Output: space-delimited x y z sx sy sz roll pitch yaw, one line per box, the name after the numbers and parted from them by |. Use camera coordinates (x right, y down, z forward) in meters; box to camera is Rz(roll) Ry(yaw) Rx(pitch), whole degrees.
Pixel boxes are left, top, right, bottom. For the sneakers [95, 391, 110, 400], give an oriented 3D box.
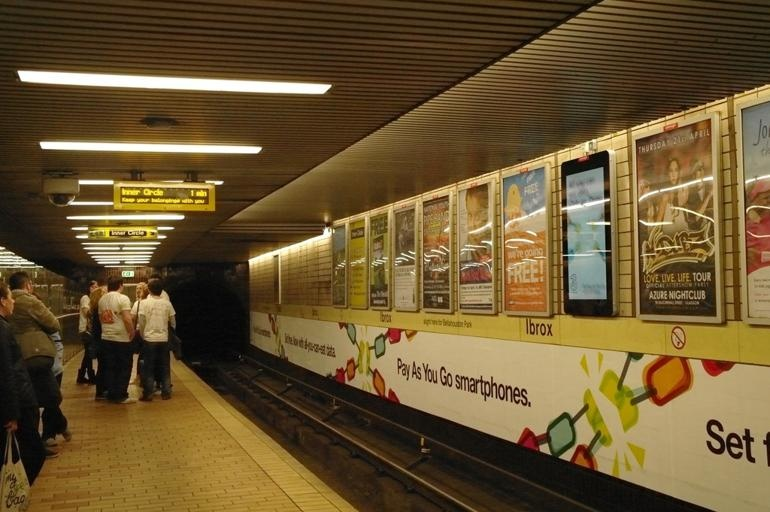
-5.481 2.723 11.024 0.244 0.111 0.369 2 -5 -19 | sneakers

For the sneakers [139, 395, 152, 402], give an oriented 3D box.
-4.626 2.748 11.015 0.245 0.118 0.267 3 -3 -23 | sneakers

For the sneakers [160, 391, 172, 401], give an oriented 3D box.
-4.303 2.771 11.218 0.181 0.135 0.151 0 -4 -14 | sneakers

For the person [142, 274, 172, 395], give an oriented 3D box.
-4.576 1.626 11.388 0.666 2.407 0.845 3 -3 -22 | person

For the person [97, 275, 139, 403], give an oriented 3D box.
-4.874 1.532 10.264 0.558 2.305 0.916 3 -3 -26 | person

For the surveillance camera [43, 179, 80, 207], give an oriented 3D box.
-4.498 -0.865 7.908 0.399 0.389 0.398 0 0 -35 | surveillance camera

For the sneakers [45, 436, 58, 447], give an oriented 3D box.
-4.518 2.526 7.712 0.136 0.128 0.137 1 7 2 | sneakers
